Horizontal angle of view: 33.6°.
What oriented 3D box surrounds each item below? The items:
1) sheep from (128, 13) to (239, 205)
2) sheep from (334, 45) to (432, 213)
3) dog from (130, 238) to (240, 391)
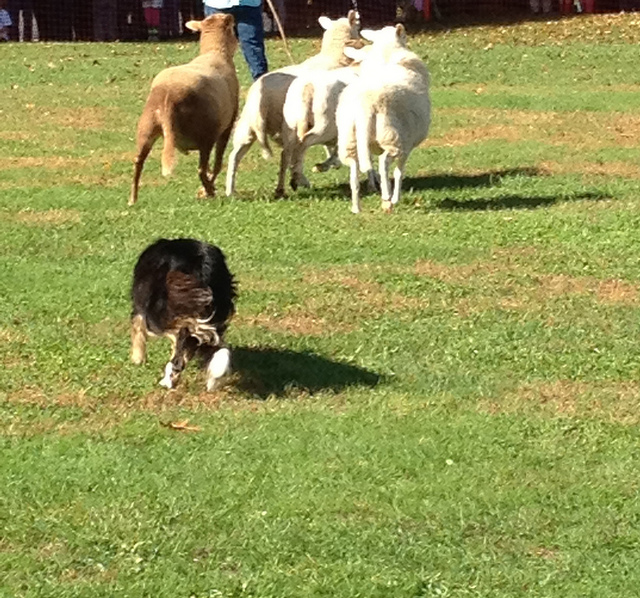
[{"bbox_3d":[-1.447,-2.096,11.475,0.913,2.033,2.112,-1,9,8],"label":"sheep"},{"bbox_3d":[0.668,-1.759,11.063,0.951,1.667,1.282,-1,9,5],"label":"sheep"},{"bbox_3d":[-0.950,0.128,7.371,0.752,1.097,0.583,-3,9,-4],"label":"dog"}]
